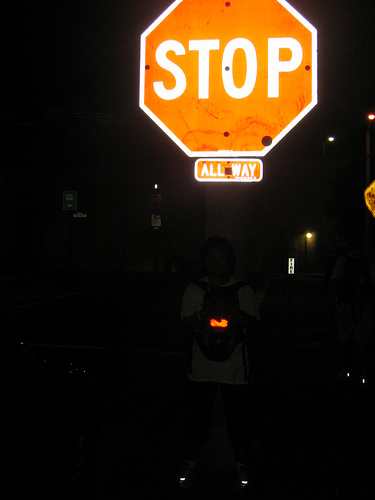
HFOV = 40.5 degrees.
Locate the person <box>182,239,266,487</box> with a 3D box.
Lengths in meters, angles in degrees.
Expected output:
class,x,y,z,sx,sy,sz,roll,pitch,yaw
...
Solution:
class,x,y,z,sx,sy,sz,roll,pitch,yaw
person,0.251,0.716,3.440,0.537,1.453,1.457,3,0,5
